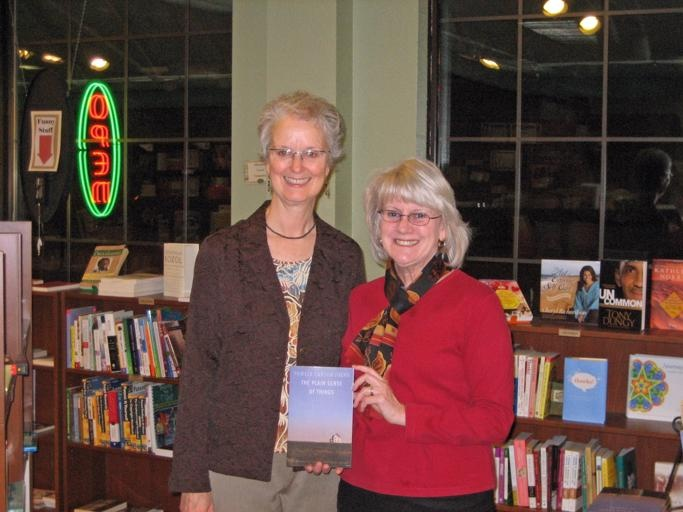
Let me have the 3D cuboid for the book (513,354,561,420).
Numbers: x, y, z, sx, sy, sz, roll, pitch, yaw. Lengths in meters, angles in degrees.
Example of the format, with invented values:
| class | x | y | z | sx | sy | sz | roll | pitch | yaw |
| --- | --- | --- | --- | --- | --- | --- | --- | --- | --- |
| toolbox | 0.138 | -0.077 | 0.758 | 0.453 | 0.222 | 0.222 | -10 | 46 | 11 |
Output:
| class | x | y | z | sx | sy | sz | roll | pitch | yaw |
| --- | --- | --- | --- | --- | --- | --- | --- | --- | --- |
| book | 1.050 | 0.690 | 3.581 | 0.107 | 0.357 | 0.267 | 4 | -1 | 35 |

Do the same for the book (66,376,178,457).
| class | x | y | z | sx | sy | sz | roll | pitch | yaw |
| --- | --- | --- | --- | --- | --- | --- | --- | --- | --- |
| book | -1.425 | 1.024 | 4.264 | 0.810 | 0.458 | 0.183 | -2 | -2 | 19 |

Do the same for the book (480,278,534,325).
| class | x | y | z | sx | sy | sz | roll | pitch | yaw |
| --- | --- | --- | --- | --- | --- | --- | --- | --- | --- |
| book | 0.958 | 0.246 | 3.667 | 0.321 | 0.317 | 0.078 | 1 | -11 | 17 |

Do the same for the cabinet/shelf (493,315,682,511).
| class | x | y | z | sx | sy | sz | roll | pitch | yaw |
| --- | --- | --- | --- | --- | --- | --- | --- | --- | --- |
| cabinet/shelf | 1.291 | 0.818 | 3.343 | 1.137 | 0.999 | 0.343 | 1 | 1 | 3 |
